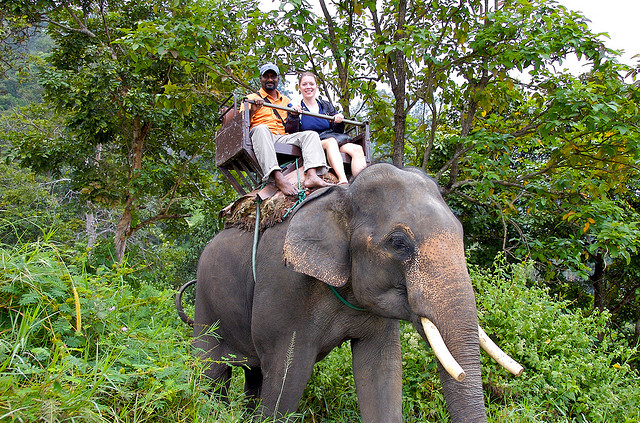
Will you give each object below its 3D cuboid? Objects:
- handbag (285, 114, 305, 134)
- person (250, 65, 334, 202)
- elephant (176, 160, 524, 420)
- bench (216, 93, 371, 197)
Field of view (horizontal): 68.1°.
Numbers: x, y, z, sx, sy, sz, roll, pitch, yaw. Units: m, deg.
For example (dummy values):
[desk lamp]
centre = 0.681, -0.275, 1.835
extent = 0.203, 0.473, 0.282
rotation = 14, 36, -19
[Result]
[handbag]
centre = -0.298, -0.962, 5.233
extent = 0.210, 0.209, 0.152
rotation = -23, -16, 34
[person]
centre = -0.400, -0.897, 5.020
extent = 0.660, 1.453, 1.103
rotation = -6, 1, -26
[elephant]
centre = 0.266, 0.739, 4.368
extent = 2.940, 2.330, 1.087
rotation = 1, -15, 23
[bench]
centre = -0.453, -0.735, 5.277
extent = 1.351, 1.005, 1.265
rotation = -4, 4, -9
